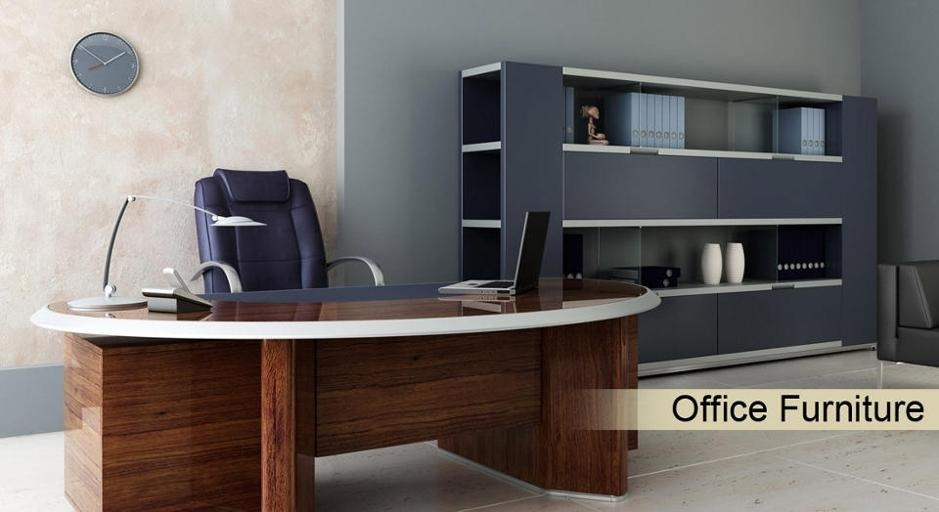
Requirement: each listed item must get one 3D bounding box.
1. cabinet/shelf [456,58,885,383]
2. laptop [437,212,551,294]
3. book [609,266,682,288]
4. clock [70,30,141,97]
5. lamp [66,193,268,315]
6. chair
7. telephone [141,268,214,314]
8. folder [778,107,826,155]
[{"bbox_3d":[1.695,-0.306,6.118,3.960,1.941,0.626,1,-4,-27],"label":"cabinet/shelf"},{"bbox_3d":[0.175,0.035,4.499,0.640,0.418,0.745,1,3,14],"label":"laptop"},{"bbox_3d":[1.607,0.148,6.374,0.380,0.103,0.352,-2,4,-34],"label":"book"},{"bbox_3d":[-2.858,-1.512,5.407,0.613,0.491,0.059,-11,-3,-27],"label":"clock"},{"bbox_3d":[-1.832,-0.043,4.274,1.187,0.591,0.437,-6,10,-44],"label":"lamp"},{"bbox_3d":[-1.811,-0.193,6.012,1.177,1.335,1.338,-3,-2,-34],"label":"chair"},{"bbox_3d":[-1.637,0.210,3.922,0.338,0.168,0.300,0,-5,30],"label":"telephone"},{"bbox_3d":[3.299,-1.258,6.968,0.656,0.498,0.323,-1,2,-29],"label":"folder"}]
